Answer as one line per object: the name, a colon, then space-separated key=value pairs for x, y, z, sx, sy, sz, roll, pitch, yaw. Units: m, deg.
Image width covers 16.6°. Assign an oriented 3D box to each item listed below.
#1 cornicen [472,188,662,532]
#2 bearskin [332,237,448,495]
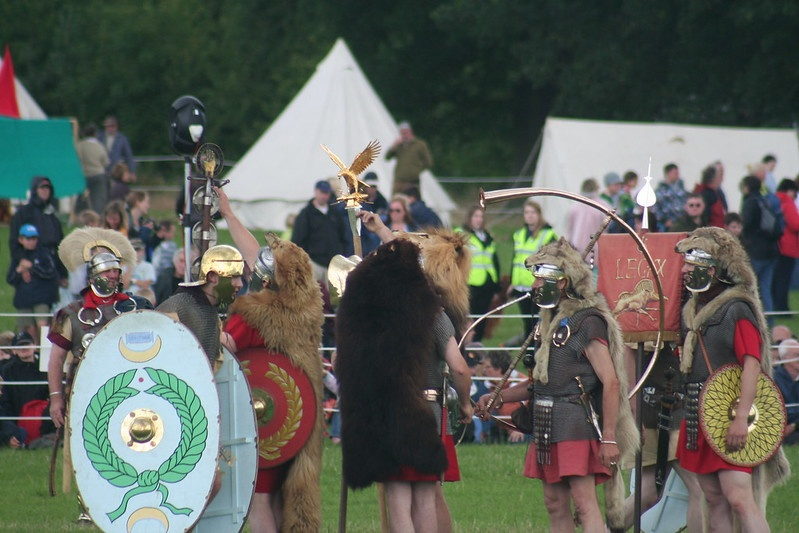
cornicen: x=1.746 y=0.093 z=29.051 sx=1.850 sy=3.643 sz=2.121 roll=1 pitch=-1 yaw=14
bearskin: x=0.026 y=0.976 z=28.374 sx=1.173 sy=2.513 sz=1.051 roll=-2 pitch=-22 yaw=11
